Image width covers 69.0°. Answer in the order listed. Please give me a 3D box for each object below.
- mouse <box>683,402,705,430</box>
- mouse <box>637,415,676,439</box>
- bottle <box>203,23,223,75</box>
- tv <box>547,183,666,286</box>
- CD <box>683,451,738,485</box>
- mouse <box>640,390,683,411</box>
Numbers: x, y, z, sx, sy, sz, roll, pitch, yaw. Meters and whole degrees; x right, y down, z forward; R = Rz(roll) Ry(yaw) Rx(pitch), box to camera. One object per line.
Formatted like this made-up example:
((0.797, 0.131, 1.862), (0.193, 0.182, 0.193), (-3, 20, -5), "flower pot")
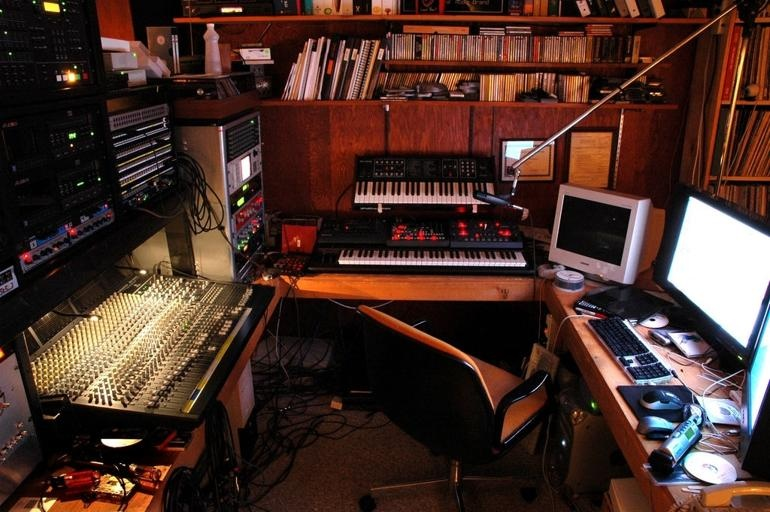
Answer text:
((1.196, 0.616, 2.151), (0.065, 0.032, 0.090), (-25, 61, -1), "mouse")
((1.024, 0.647, 2.118), (0.107, 0.035, 0.083), (-3, 24, 15), "mouse")
((-0.945, -1.119, 3.048), (0.093, 0.279, 0.295), (0, 16, -17), "bottle")
((1.201, -0.093, 3.052), (0.507, 0.480, 0.281), (17, 21, 40), "tv")
((1.159, 0.757, 1.999), (0.174, 0.064, 0.132), (5, 15, -2), "CD")
((1.090, 0.567, 2.196), (0.131, 0.041, 0.076), (-4, 21, 3), "mouse")
